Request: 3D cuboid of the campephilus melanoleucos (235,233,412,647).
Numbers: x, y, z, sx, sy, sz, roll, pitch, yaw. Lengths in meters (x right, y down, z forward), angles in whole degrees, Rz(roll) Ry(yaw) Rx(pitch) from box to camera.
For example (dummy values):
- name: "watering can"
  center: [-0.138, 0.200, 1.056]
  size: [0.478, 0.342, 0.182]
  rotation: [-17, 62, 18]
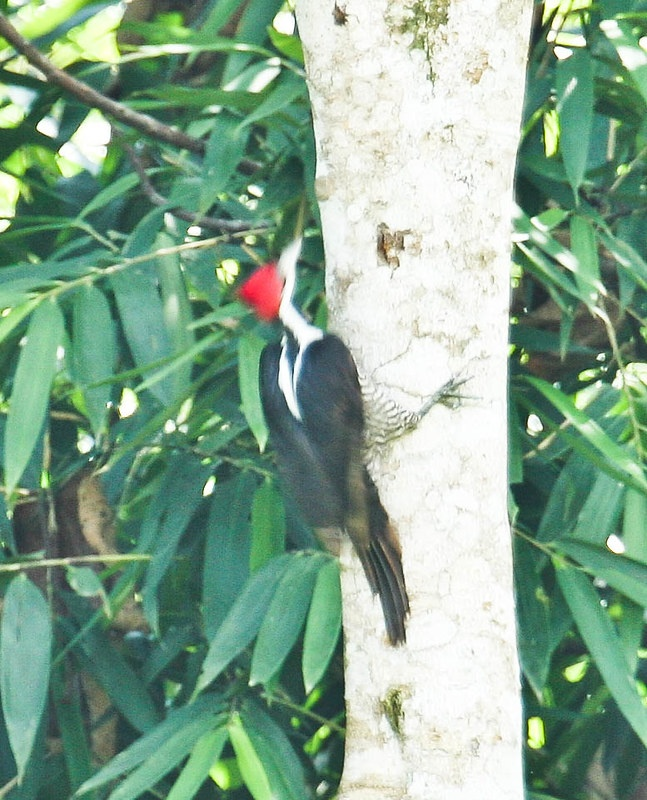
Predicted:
- name: "campephilus melanoleucos"
  center: [-0.006, 0.026, 1.189]
  size: [0.123, 0.402, 0.170]
  rotation: [19, -24, -35]
